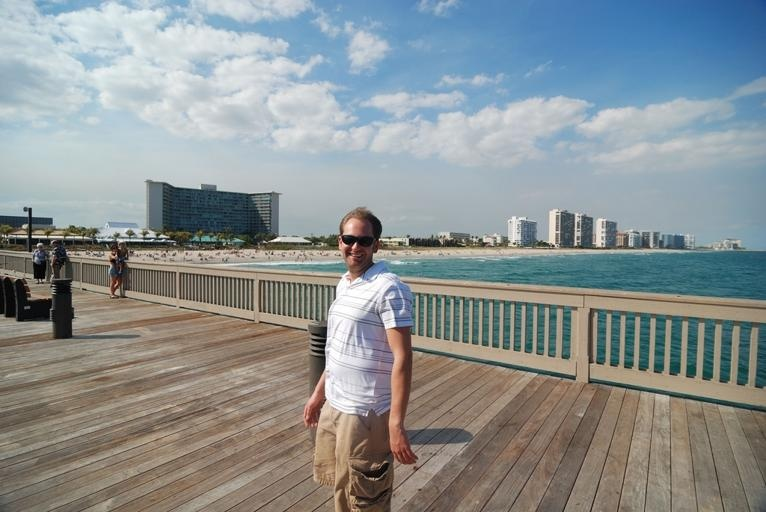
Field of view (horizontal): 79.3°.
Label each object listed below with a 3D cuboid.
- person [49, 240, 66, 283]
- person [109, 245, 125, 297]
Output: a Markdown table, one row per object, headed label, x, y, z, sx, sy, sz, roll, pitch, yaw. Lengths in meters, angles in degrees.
| label | x | y | z | sx | sy | sz | roll | pitch | yaw |
| --- | --- | --- | --- | --- | --- | --- | --- | --- | --- |
| person | -12.006 | 0.083 | 17.023 | 0.532 | 1.496 | 2.187 | -7 | 10 | -35 |
| person | -8.196 | 0.433 | 14.186 | 0.467 | 1.724 | 0.701 | -6 | 10 | -30 |
